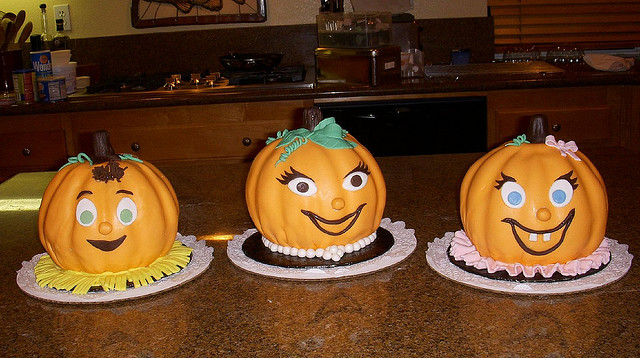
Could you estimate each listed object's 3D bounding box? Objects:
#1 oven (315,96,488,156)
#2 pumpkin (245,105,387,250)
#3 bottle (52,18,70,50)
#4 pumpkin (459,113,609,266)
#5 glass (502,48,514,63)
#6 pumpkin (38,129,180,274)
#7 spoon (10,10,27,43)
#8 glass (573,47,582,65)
[{"bbox_3d":[0.543,-0.302,2.892,0.878,0.488,0.442,0,4,0],"label":"oven"},{"bbox_3d":[-0.004,-0.015,1.329,0.366,0.312,0.316,-2,20,2],"label":"pumpkin"},{"bbox_3d":[-1.735,-0.966,3.430,0.096,0.195,0.140,-7,20,-9],"label":"bottle"},{"bbox_3d":[0.471,0.023,1.115,0.278,0.306,0.145,5,22,20],"label":"pumpkin"},{"bbox_3d":[1.313,-0.867,3.591,0.075,0.081,0.112,3,20,17],"label":"glass"},{"bbox_3d":[-0.500,0.040,1.259,0.377,0.328,0.356,-7,17,-21],"label":"pumpkin"},{"bbox_3d":[-1.900,-0.980,3.259,0.057,0.295,0.043,-5,60,-38],"label":"spoon"},{"bbox_3d":[1.745,-0.840,3.496,0.063,0.075,0.389,6,20,25],"label":"glass"}]
